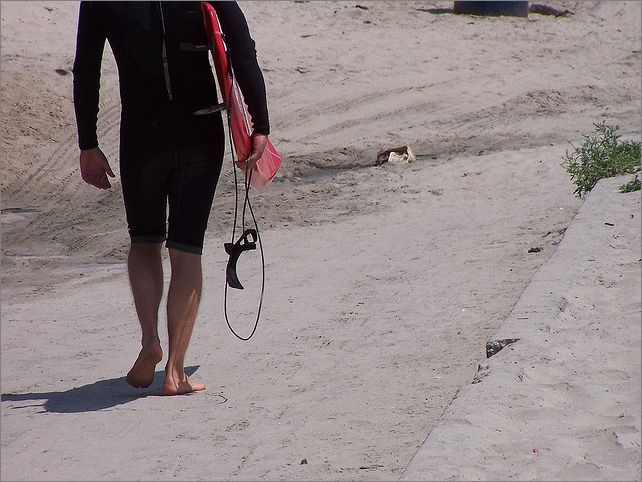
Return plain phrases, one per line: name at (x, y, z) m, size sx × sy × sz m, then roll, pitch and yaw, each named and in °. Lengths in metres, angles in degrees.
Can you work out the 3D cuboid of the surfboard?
surfboard at (-0.664, -1.168, 10.612) m, size 0.616 × 1.606 × 0.456 m, roll 0°, pitch 22°, yaw 2°
